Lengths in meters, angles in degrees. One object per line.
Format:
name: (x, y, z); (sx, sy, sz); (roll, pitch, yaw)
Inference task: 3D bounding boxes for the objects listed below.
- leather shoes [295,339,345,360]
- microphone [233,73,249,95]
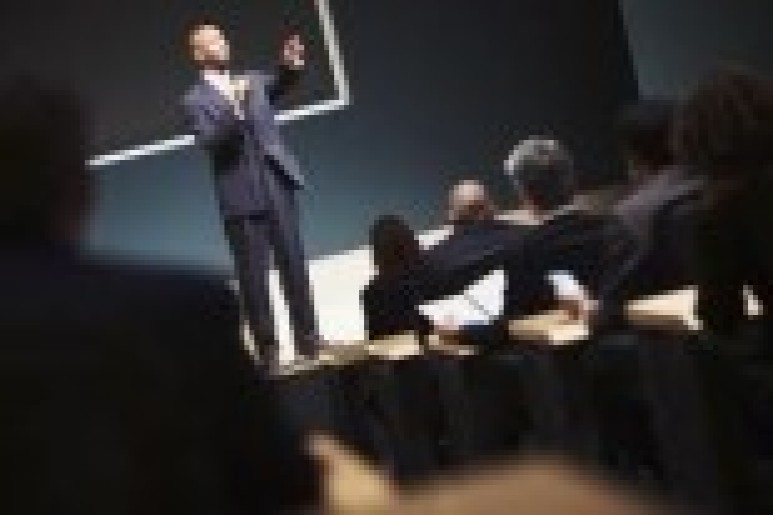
leather shoes: (-0.247, 0.327, 2.189); (0.160, 0.072, 0.056); (-14, 3, -3)
microphone: (-0.545, -0.655, 2.218); (0.033, 0.127, 0.037); (-7, -14, 0)
